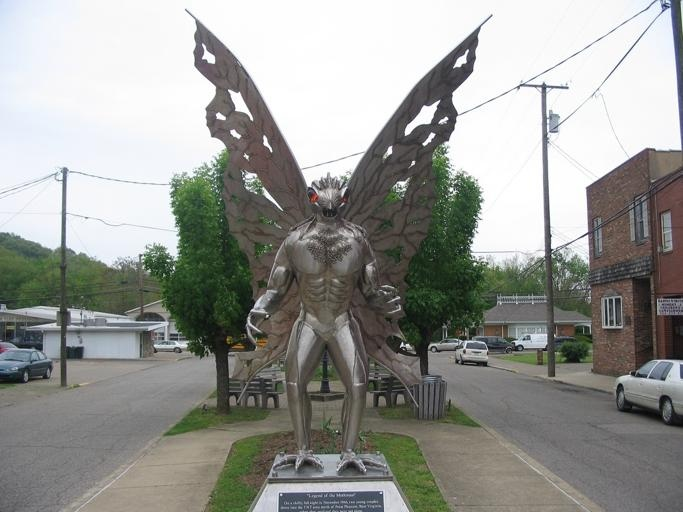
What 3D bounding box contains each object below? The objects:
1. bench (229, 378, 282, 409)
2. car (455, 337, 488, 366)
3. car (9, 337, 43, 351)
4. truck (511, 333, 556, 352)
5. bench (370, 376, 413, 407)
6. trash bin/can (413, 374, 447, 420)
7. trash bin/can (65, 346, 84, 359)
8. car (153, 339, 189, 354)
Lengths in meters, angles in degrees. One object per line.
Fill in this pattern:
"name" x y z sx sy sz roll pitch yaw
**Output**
"bench" -2.887 4.396 17.749 1.575 0.938 2.424 1 -11 -12
"car" 8.917 6.629 37.932 1.150 1.199 2.522 0 -3 0
"car" -24.521 6.758 42.182 1.587 0.912 2.840 -2 -11 5
"truck" 18.236 8.191 52.411 3.960 1.560 1.525 5 -11 -27
"bench" 1.583 4.408 17.990 1.105 0.929 3.274 -1 -11 4
"trash bin/can" 2.486 3.941 15.348 0.941 1.182 0.696 0 -8 -4
"trash bin/can" -21.125 7.516 42.947 1.150 0.952 0.904 4 -10 -24
"car" -17.926 9.372 56.990 2.908 1.339 5.213 1 -11 -10
